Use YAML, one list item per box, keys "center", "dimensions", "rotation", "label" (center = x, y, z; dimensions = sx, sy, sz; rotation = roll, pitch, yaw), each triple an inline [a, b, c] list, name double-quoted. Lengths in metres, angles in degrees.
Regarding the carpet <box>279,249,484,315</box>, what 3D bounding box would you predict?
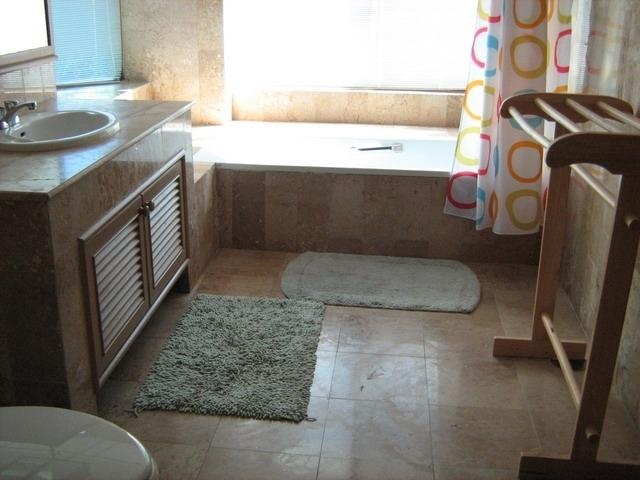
- center: [0.322, 0.212, 2.841]
  dimensions: [1.043, 0.109, 0.540]
  rotation: [2, 17, 4]
  label: "carpet"
